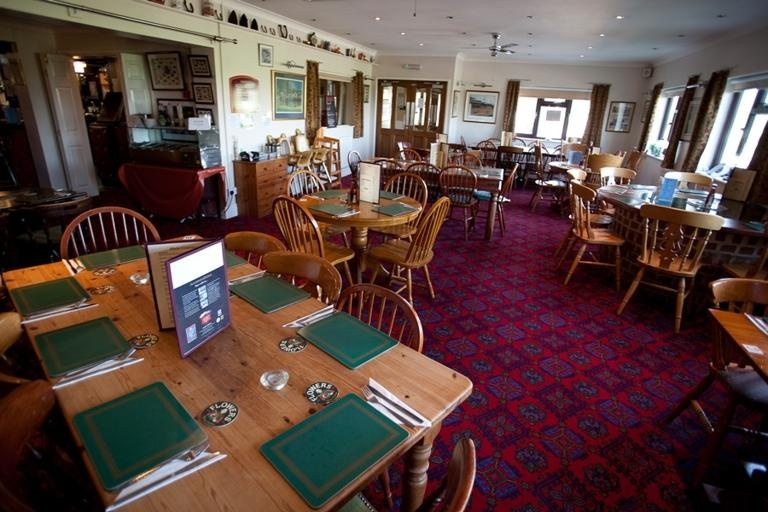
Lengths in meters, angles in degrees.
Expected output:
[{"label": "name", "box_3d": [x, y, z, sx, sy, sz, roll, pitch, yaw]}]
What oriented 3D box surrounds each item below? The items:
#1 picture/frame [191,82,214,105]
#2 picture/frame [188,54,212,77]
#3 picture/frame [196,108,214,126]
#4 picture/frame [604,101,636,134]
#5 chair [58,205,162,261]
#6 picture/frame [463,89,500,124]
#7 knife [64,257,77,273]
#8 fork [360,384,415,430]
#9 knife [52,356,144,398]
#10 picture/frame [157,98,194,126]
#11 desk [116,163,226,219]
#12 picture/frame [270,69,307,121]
[{"label": "picture/frame", "box_3d": [-2.457, -2.220, 6.211, 0.387, 0.281, 0.028, 14, 33, 15]}, {"label": "picture/frame", "box_3d": [-2.454, -2.551, 6.096, 0.400, 0.342, 0.025, 11, 36, 10]}, {"label": "picture/frame", "box_3d": [-2.492, -1.940, 6.320, 0.358, 0.224, 0.133, 20, 28, 40]}, {"label": "picture/frame", "box_3d": [5.055, -2.982, 9.674, 0.723, 0.859, 0.033, 12, 40, 22]}, {"label": "chair", "box_3d": [-2.470, -0.212, 4.062, 0.494, 0.618, 0.415, -32, 74, -30]}, {"label": "picture/frame", "box_3d": [2.257, -3.427, 10.351, 0.929, 0.753, 0.061, 7, 32, 12]}, {"label": "knife", "box_3d": [-2.051, 0.050, 2.972, 0.064, 0.045, 0.211, -13, 20, -38]}, {"label": "fork", "box_3d": [0.015, 0.746, 2.260, 0.255, 0.034, 0.040, 34, 55, 19]}, {"label": "knife", "box_3d": [-1.470, 0.572, 2.437, 0.474, 0.178, 0.122, -11, 40, -26]}, {"label": "picture/frame", "box_3d": [-3.046, -2.084, 6.613, 0.771, 0.381, 0.177, 16, 26, 33]}, {"label": "desk", "box_3d": [-2.780, -0.928, 6.123, 1.636, 0.754, 0.779, 9, 21, 18]}, {"label": "picture/frame", "box_3d": [-1.585, -2.661, 7.473, 0.051, 0.695, 1.046, 11, 17, 24]}]
